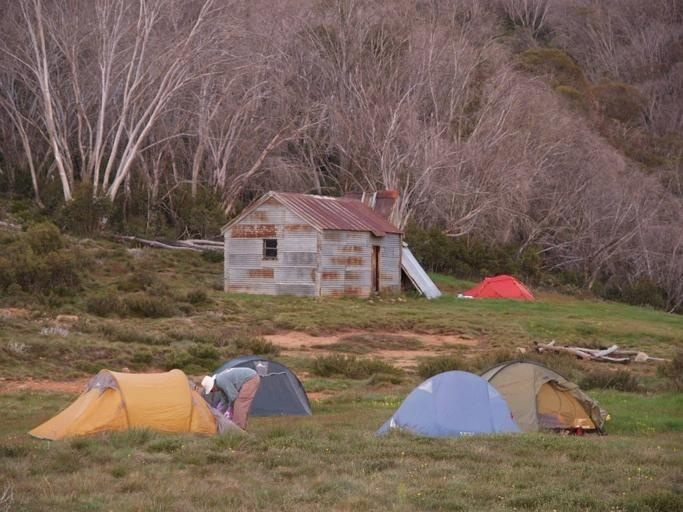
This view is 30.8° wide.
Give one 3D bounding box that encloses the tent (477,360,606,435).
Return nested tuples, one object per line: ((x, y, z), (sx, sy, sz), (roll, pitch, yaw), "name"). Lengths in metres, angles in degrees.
((8.741, 6.159, 53.772), (5.901, 2.335, 6.302), (-4, -7, 38), "tent")

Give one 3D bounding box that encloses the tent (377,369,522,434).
((4.606, 6.570, 52.686), (4.308, 3.173, 5.244), (3, 4, 24), "tent")
